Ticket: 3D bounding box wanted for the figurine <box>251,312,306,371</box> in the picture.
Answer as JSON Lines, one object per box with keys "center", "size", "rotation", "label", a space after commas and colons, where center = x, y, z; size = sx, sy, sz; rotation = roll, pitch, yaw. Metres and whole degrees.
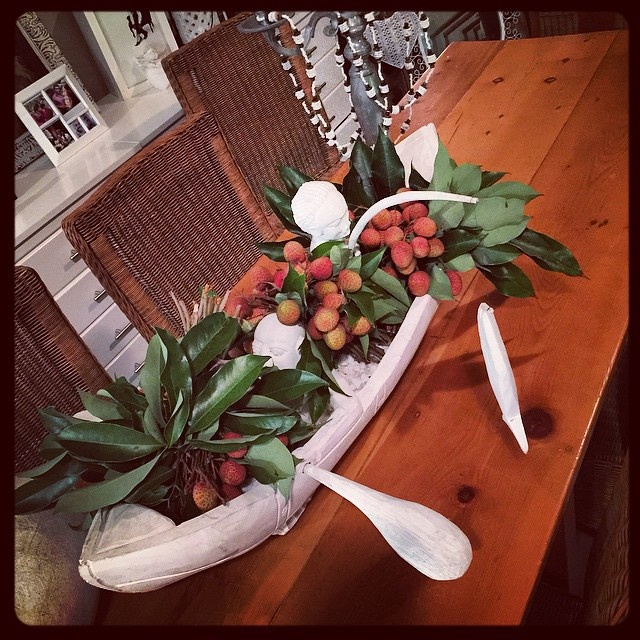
{"center": [-0.061, 0.028, 0.721], "size": [0.074, 0.085, 0.073], "rotation": [-1, 6, 38], "label": "figurine"}
